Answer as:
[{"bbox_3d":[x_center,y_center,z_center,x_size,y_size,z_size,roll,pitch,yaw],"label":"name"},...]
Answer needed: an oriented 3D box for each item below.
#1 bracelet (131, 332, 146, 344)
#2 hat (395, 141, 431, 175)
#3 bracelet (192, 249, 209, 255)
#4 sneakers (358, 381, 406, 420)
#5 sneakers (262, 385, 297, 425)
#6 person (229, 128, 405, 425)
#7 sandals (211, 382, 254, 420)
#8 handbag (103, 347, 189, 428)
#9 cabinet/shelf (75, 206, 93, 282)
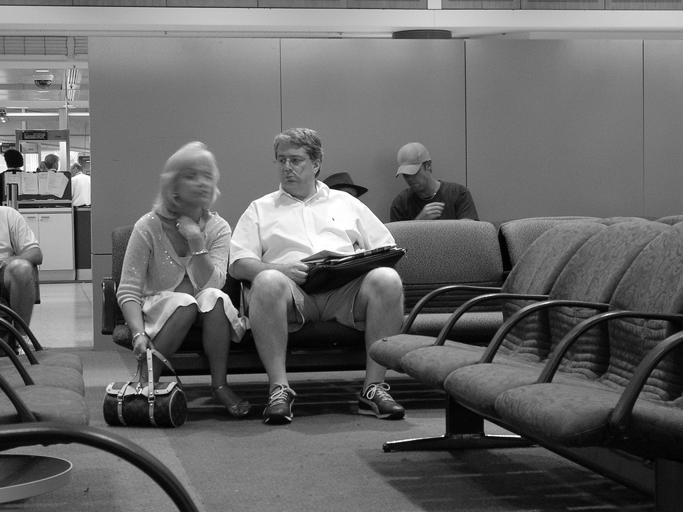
[{"bbox_3d":[-0.972,0.409,3.292,0.049,0.035,0.071,0,14,-19],"label":"bracelet"},{"bbox_3d":[0.574,-0.772,5.430,0.195,0.177,0.308,-2,29,32],"label":"hat"},{"bbox_3d":[-0.709,-0.015,3.433,0.073,0.029,0.037,-6,8,-22],"label":"bracelet"},{"bbox_3d":[0.200,0.732,3.468,0.126,0.172,0.358,6,-5,-26],"label":"sneakers"},{"bbox_3d":[-0.303,0.714,3.302,0.149,0.165,0.155,-4,7,-12],"label":"sneakers"},{"bbox_3d":[-0.088,0.059,3.686,0.916,1.632,0.980,2,-7,-27],"label":"person"},{"bbox_3d":[-0.567,0.710,3.515,0.105,0.122,0.287,-27,21,-25],"label":"sandals"},{"bbox_3d":[-0.953,0.663,3.385,0.304,0.338,0.171,-1,-14,3],"label":"handbag"},{"bbox_3d":[-4.759,-0.204,12.582,0.301,1.323,0.140,-6,8,-28],"label":"cabinet/shelf"}]
